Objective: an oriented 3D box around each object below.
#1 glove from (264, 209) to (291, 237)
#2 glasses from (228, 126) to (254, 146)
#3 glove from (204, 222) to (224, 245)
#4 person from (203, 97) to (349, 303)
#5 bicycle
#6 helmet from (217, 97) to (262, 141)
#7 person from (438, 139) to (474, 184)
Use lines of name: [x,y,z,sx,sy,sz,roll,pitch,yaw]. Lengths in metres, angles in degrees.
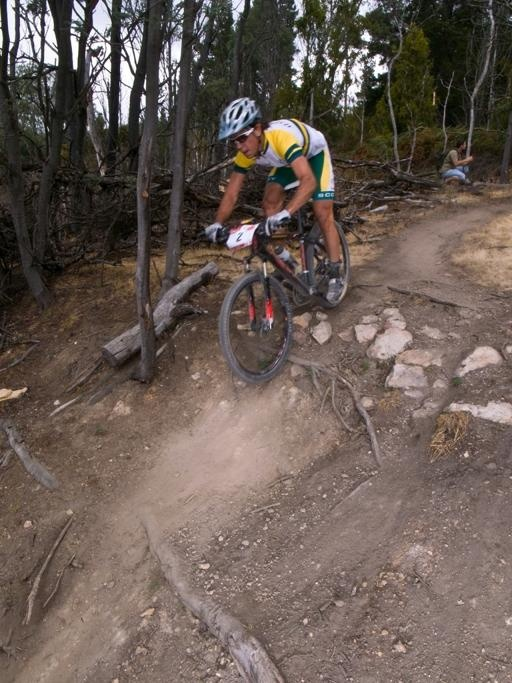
glove: [0.138,-0.804,3.359,0.071,0.120,0.185,12,-13,-25]
glasses: [-0.105,-1.445,3.516,0.103,0.036,0.111,-14,45,43]
glove: [-0.299,-0.792,3.532,0.121,0.175,0.067,-27,-28,37]
person: [0.168,-0.979,4.017,0.834,1.764,1.408,6,21,20]
bicycle: [-0.030,-0.672,4.500,0.977,1.305,2.095,8,39,32]
helmet: [-0.115,-1.572,3.510,0.333,0.277,0.250,-7,21,-15]
person: [5.116,-4.541,12.719,0.732,1.120,0.714,2,14,3]
